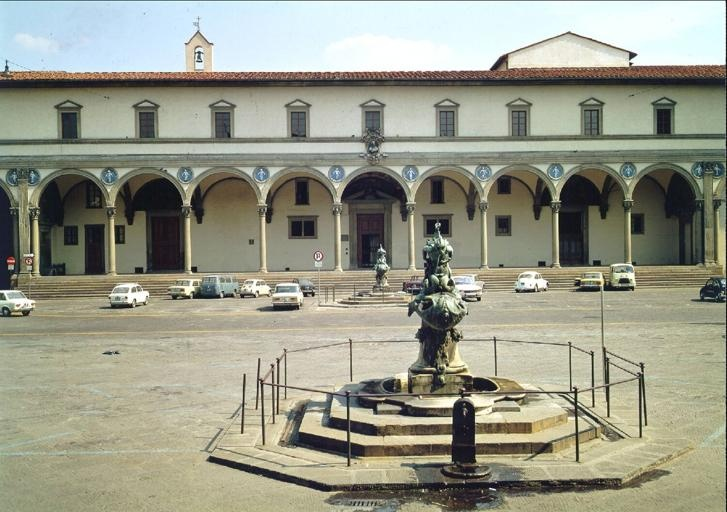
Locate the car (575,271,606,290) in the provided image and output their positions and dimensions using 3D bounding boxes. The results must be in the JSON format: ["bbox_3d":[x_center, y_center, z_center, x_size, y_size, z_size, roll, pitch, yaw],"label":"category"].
[{"bbox_3d":[13.566,1.526,54.828,1.328,0.840,2.770,-1,0,15],"label":"car"}]

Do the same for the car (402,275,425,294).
[{"bbox_3d":[2.909,1.775,55.850,1.081,1.063,3.131,-1,-1,1],"label":"car"}]

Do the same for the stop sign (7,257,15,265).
[{"bbox_3d":[-22.400,0.314,57.830,0.470,0.540,0.566,1,-12,-15],"label":"stop sign"}]

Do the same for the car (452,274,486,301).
[{"bbox_3d":[6.021,1.819,52.329,1.581,1.113,3.638,-1,-3,2],"label":"car"}]
